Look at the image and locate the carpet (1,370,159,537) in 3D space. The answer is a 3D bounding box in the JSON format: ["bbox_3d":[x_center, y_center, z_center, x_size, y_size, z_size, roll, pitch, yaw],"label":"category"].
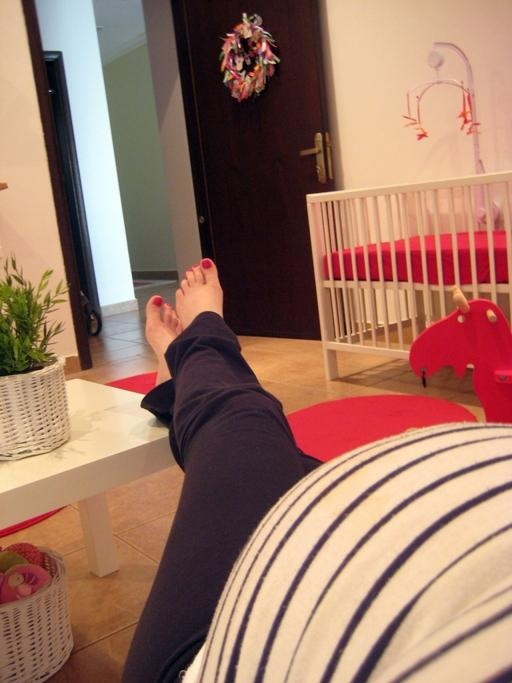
[{"bbox_3d":[-0.476,0.345,1.927,0.607,0.154,0.381,-24,36,-29],"label":"carpet"}]
